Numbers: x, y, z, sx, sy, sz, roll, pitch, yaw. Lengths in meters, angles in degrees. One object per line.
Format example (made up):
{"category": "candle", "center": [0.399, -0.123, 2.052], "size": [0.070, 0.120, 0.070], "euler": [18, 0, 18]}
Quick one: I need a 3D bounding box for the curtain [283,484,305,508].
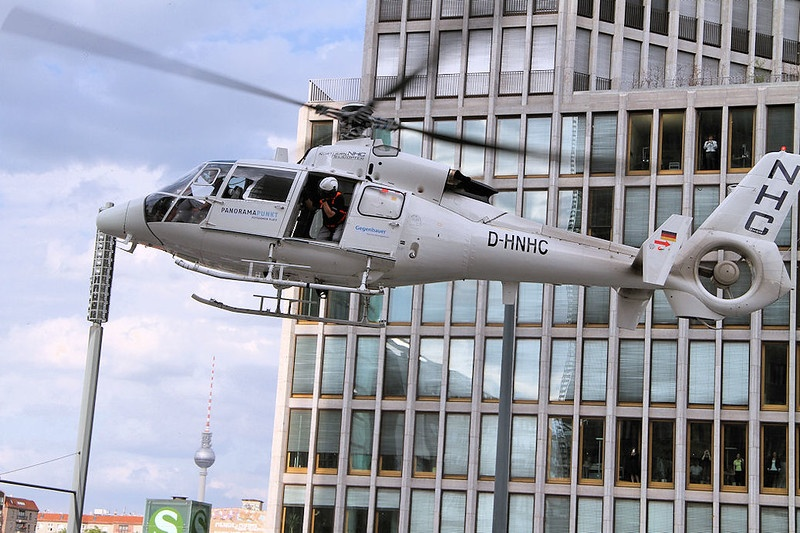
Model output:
{"category": "curtain", "center": [-5.260, 11.378, 64.359], "size": [1.371, 0.969, 0.138], "euler": [-2, -4, 5]}

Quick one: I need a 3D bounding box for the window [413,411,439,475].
{"category": "window", "center": [1.212, 8.631, 63.414], "size": [1.276, 3.075, 0.400], "euler": [8, -13, 0]}

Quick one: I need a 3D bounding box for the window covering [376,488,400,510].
{"category": "window covering", "center": [-0.564, 11.322, 63.281], "size": [1.326, 0.946, 0.116], "euler": [-1, -20, 5]}

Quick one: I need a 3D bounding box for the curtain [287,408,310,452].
{"category": "curtain", "center": [-5.046, 8.413, 64.941], "size": [1.478, 2.197, 0.066], "euler": [-2, -9, 38]}

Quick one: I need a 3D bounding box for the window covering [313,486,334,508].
{"category": "window covering", "center": [-3.770, 11.353, 63.987], "size": [1.191, 0.929, 0.558], "euler": [0, -20, 3]}

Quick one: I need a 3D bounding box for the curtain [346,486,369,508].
{"category": "curtain", "center": [-2.079, 11.279, 63.631], "size": [1.180, 0.956, 0.550], "euler": [-1, -18, 5]}
